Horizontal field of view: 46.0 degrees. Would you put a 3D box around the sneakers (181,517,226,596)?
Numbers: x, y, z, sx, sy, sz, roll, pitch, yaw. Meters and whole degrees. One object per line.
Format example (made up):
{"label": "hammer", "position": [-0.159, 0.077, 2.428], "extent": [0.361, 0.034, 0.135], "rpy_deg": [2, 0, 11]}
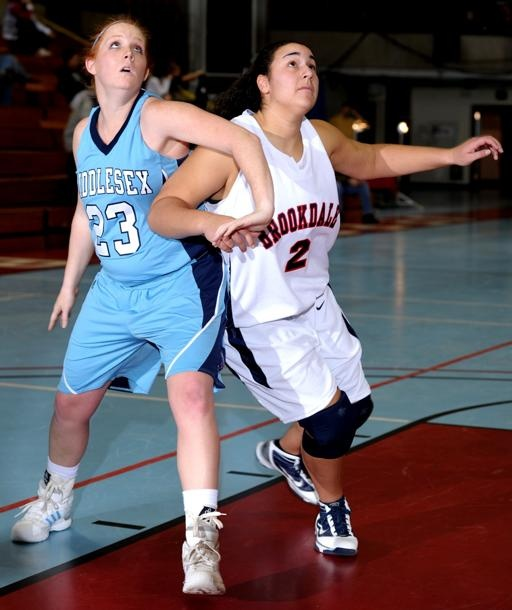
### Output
{"label": "sneakers", "position": [-0.110, 0.517, 1.249], "extent": [0.082, 0.149, 0.152], "rpy_deg": [-2, 2, -5]}

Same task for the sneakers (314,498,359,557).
{"label": "sneakers", "position": [0.222, 0.596, 1.669], "extent": [0.112, 0.122, 0.205], "rpy_deg": [-1, 2, 8]}

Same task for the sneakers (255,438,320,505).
{"label": "sneakers", "position": [0.112, 0.569, 2.094], "extent": [0.298, 0.121, 0.100], "rpy_deg": [39, 22, 6]}

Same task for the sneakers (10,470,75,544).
{"label": "sneakers", "position": [-0.635, 0.591, 1.773], "extent": [0.107, 0.165, 0.275], "rpy_deg": [3, -4, 15]}
